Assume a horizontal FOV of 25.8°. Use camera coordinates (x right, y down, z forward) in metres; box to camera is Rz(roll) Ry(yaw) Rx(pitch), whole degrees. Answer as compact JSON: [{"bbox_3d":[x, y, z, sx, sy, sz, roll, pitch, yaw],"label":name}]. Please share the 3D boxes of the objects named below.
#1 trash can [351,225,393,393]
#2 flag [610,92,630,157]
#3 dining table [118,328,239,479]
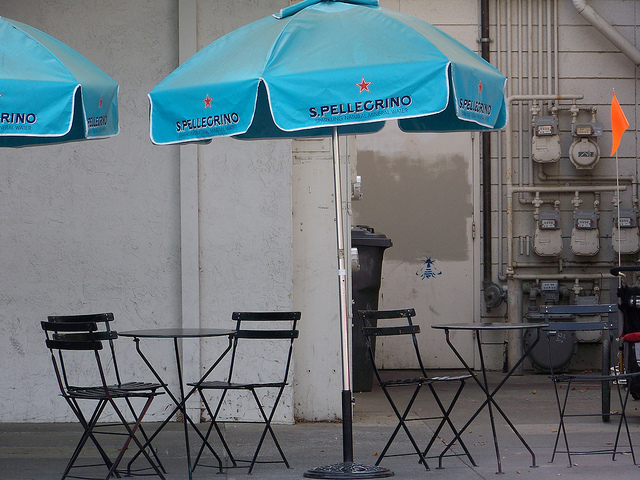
[{"bbox_3d":[0.512,0.800,15.388,0.314,1.766,0.519,4,9,40],"label":"trash can"},{"bbox_3d":[3.433,-1.338,16.032,0.258,0.774,0.023,-7,6,-26],"label":"flag"},{"bbox_3d":[-1.432,1.496,13.129,1.150,1.418,1.196,0,-3,-2],"label":"dining table"}]
